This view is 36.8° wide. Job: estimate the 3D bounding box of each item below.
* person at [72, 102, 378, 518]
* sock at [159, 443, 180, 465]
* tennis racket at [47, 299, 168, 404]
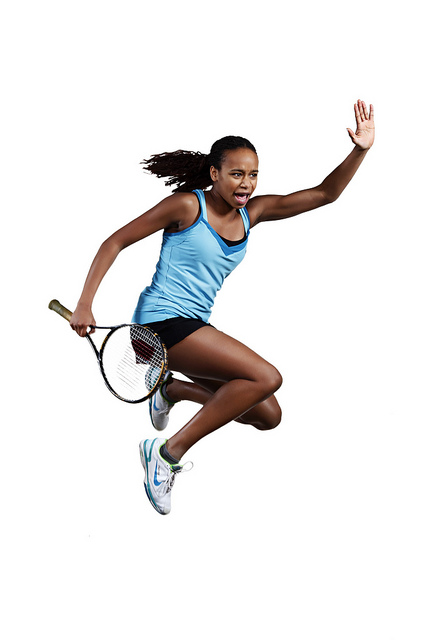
[{"bbox_3d":[-0.041,-0.266,3.351,1.093,1.641,1.564,22,-43,-12],"label":"person"},{"bbox_3d":[-0.239,0.714,3.367,0.087,0.108,0.043,29,-69,-36],"label":"sock"},{"bbox_3d":[-0.553,0.092,3.203,0.922,0.362,0.081,30,1,37],"label":"tennis racket"}]
